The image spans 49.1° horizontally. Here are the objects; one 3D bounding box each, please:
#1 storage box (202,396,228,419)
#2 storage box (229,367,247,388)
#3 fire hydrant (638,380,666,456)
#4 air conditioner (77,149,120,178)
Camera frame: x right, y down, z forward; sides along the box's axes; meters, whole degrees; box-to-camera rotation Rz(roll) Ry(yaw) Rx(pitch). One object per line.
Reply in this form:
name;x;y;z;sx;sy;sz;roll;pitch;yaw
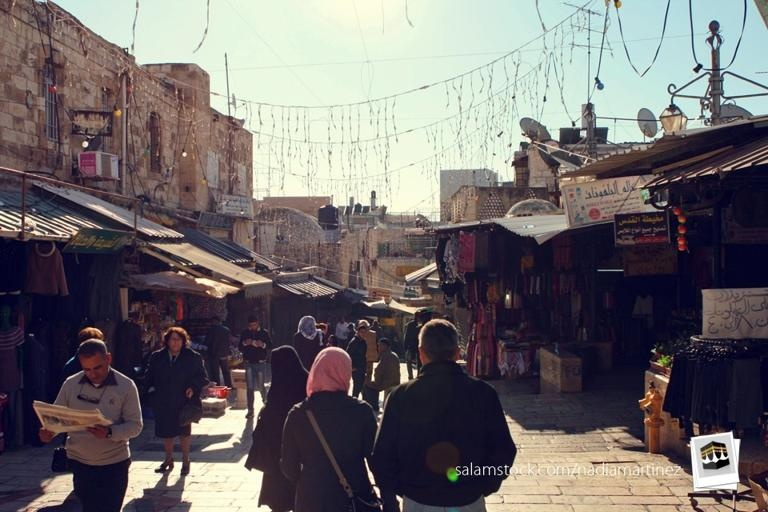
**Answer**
storage box;-3.212;2.831;15.878;0.284;0.206;0.397;0;1;7
storage box;-2.898;2.401;16.821;0.408;0.282;0.431;1;3;4
fire hydrant;4.250;2.565;13.406;0.350;1.041;0.405;-1;0;33
air conditioner;-6.175;-1.964;18.137;0.491;0.487;0.960;0;-1;7
